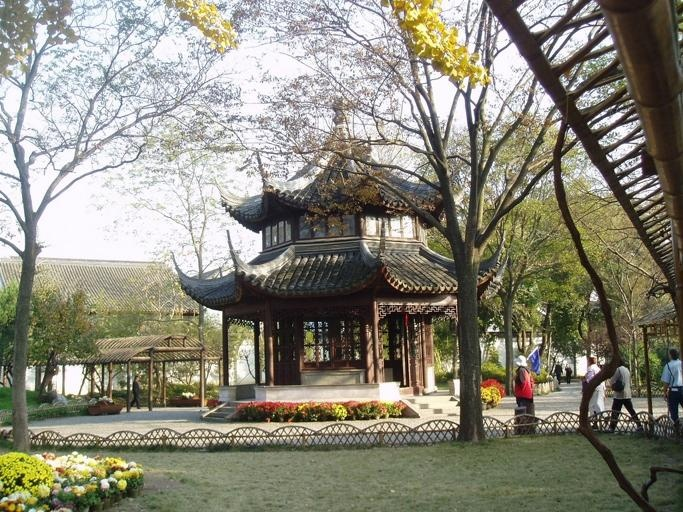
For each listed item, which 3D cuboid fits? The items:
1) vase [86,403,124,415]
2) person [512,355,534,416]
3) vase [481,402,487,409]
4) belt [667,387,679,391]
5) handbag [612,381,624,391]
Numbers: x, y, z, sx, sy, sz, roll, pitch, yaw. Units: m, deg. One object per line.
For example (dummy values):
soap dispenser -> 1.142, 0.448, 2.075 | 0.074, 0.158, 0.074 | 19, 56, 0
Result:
vase -> -8.769, 5.657, 26.074 | 1.151, 0.525, 1.154 | 1, -15, -18
person -> 4.148, 2.924, 15.952 | 0.409, 1.397, 1.963 | -6, -14, 13
vase -> 4.376, 4.499, 21.283 | 0.116, 0.230, 0.502 | -7, -15, 14
belt -> 6.717, 2.683, 14.177 | 0.087, 0.049, 0.118 | 7, -18, -33
handbag -> 6.227, 2.897, 15.740 | 0.203, 0.148, 0.208 | -2, -4, 40
